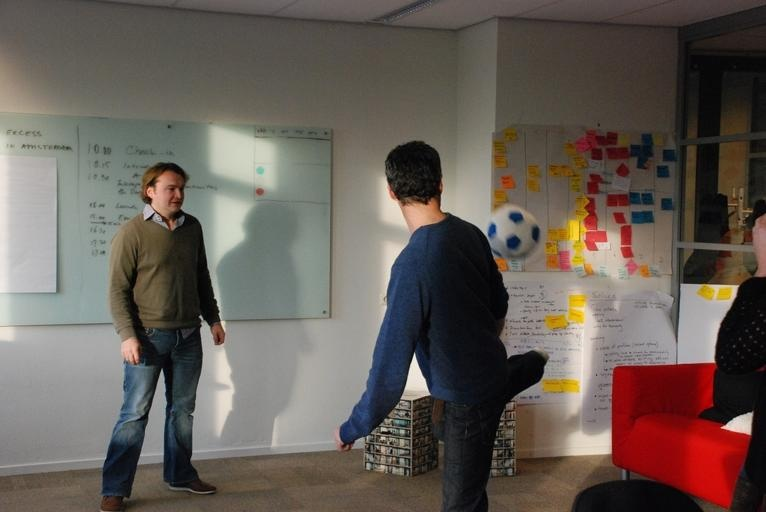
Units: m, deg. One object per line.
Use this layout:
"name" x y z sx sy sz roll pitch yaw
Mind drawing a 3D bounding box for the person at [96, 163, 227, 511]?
"person" -1.544 0.532 4.303 0.715 2.291 0.391 -3 9 -25

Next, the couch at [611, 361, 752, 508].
"couch" 2.182 1.147 4.426 0.857 0.724 0.887 6 -6 -27

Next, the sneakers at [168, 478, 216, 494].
"sneakers" -1.311 1.619 4.488 0.333 0.135 0.123 1 -7 5
